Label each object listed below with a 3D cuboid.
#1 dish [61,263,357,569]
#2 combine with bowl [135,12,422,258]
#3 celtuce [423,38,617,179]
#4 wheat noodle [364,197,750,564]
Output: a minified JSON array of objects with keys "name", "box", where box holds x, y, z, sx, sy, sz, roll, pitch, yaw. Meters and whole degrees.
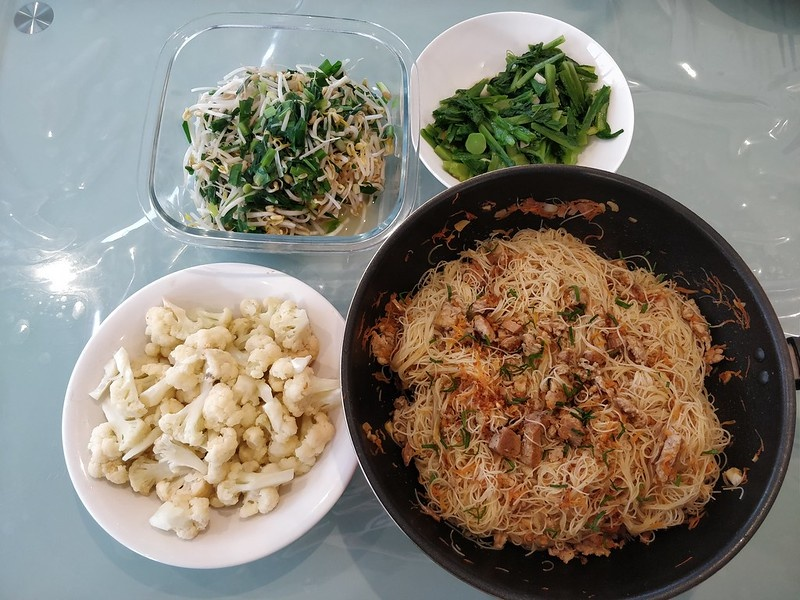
[{"name":"dish","box":[-0.707,0.451,2.528,0.958,0.274,1.075,3,85,-3]},{"name":"combine with bowl","box":[-0.530,-0.682,2.273,0.842,0.330,1.006,1,81,-1]},{"name":"celtuce","box":[0.501,-0.773,2.647,0.726,0.580,0.548,18,118,38]},{"name":"wheat noodle","box":[0.522,0.304,2.366,1.136,0.326,1.291,-8,54,0]}]
